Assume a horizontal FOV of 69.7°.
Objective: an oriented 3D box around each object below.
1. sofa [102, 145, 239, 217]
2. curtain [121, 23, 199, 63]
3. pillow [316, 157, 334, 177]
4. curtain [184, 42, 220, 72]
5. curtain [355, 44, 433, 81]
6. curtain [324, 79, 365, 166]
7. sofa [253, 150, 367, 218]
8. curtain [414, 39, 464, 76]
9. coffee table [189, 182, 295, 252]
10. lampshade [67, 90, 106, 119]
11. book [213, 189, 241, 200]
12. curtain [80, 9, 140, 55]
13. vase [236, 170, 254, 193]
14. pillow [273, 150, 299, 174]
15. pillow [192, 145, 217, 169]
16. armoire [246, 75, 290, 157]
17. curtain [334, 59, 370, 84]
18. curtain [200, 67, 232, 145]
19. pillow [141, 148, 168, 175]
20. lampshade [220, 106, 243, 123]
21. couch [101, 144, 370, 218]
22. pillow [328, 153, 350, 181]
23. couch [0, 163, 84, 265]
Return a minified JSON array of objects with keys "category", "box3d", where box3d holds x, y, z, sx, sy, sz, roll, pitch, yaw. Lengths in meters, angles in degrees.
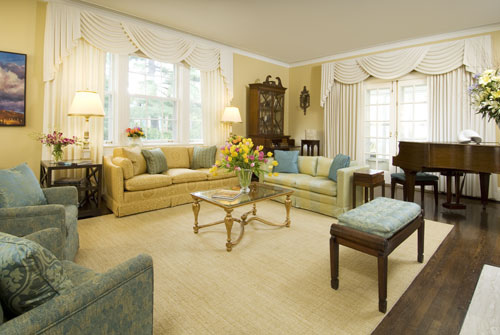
[{"category":"sofa","box3d":[-1.617,0.318,6.257,2.534,1.135,1.036,-5,5,-42]},{"category":"curtain","box3d":[-1.679,-2.312,6.796,1.604,0.471,0.383,3,7,-38]},{"category":"pillow","box3d":[1.318,-0.001,6.343,0.101,0.295,0.283,4,4,-32]},{"category":"curtain","box3d":[-0.925,-2.240,7.457,0.694,0.505,0.070,-3,-4,-15]},{"category":"curtain","box3d":[3.058,-2.205,7.501,0.033,0.389,0.811,-10,10,-40]},{"category":"curtain","box3d":[2.242,-1.100,8.354,0.644,1.723,0.122,5,31,22]},{"category":"sofa","box3d":[1.036,0.238,6.465,1.780,0.986,0.777,9,9,44]},{"category":"curtain","box3d":[3.712,-2.144,7.006,0.042,0.587,0.736,-7,6,-44]},{"category":"coffee table","box3d":[-0.106,0.668,5.494,1.356,0.688,0.991,-9,15,-37]},{"category":"lampshade","box3d":[-2.616,-1.031,5.741,0.515,0.380,0.149,-4,7,-31]},{"category":"book","box3d":[-0.322,0.384,5.116,0.342,0.075,0.356,1,6,13]},{"category":"curtain","box3d":[-2.480,-2.301,6.198,0.295,0.529,0.959,9,8,36]},{"category":"vase","box3d":[-0.063,0.208,5.324,0.264,0.356,0.289,-1,1,11]},{"category":"pillow","box3d":[0.668,-0.094,6.682,0.358,0.386,0.140,1,-9,12]},{"category":"pillow","box3d":[-0.900,-0.195,7.000,0.370,0.442,0.161,3,-17,2]},{"category":"armoire","box3d":[0.362,-1.238,8.363,0.971,1.974,0.522,-2,6,-44]},{"category":"curtain","box3d":[2.278,-2.176,8.124,0.050,0.628,0.848,8,10,-42]},{"category":"curtain","box3d":[-0.738,-1.319,7.764,0.699,1.646,0.100,-4,7,-35]},{"category":"pillow","box3d":[-1.698,-0.121,6.518,0.226,0.451,0.524,1,7,18]},{"category":"lampshade","box3d":[-0.402,-1.107,7.567,0.312,0.352,0.333,1,2,0]},{"category":"couch","box3d":[-0.525,0.191,6.382,4.244,1.104,1.440,0,6,2]},{"category":"pillow","box3d":[1.477,-0.019,6.023,0.155,0.399,0.375,19,1,-13]},{"category":"couch","box3d":[-2.324,0.520,4.010,0.773,1.433,1.038,-3,5,-23]}]
